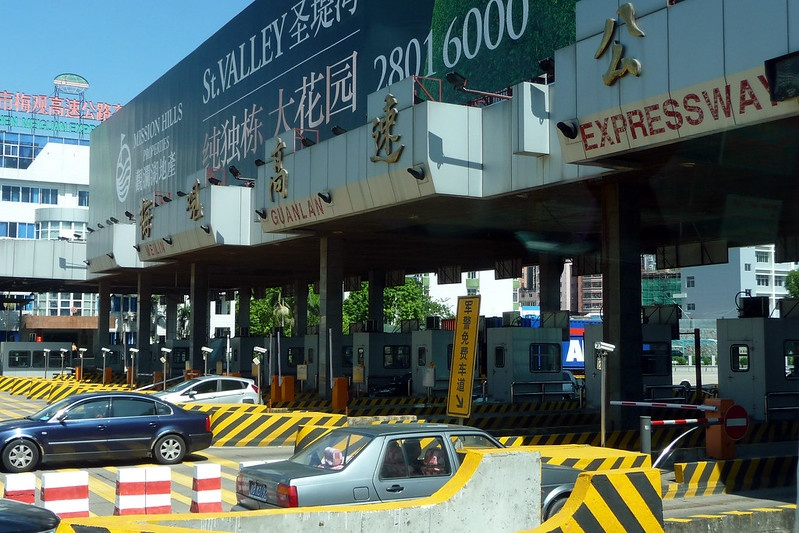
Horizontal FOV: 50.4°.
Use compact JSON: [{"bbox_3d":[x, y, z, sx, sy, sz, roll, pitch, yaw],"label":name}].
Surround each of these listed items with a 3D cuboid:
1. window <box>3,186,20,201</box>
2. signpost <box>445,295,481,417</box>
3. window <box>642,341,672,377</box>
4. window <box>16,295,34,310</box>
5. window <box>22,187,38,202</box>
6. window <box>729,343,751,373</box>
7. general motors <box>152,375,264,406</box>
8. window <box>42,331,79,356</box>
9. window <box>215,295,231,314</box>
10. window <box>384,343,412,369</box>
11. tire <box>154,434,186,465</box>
[{"bbox_3d":[-42.733,-8.113,93.448,1.772,1.480,1.860,13,1,7],"label":"window"},{"bbox_3d":[1.669,2.278,21.242,0.512,3.095,1.061,4,-8,-36],"label":"signpost"},{"bbox_3d":[10.388,3.855,35.065,1.493,1.435,0.916,2,-5,-23],"label":"window"},{"bbox_3d":[-36.141,3.451,81.817,1.523,0.779,0.843,3,-9,-25],"label":"window"},{"bbox_3d":[-40.997,-7.965,94.149,1.544,1.541,0.829,2,-8,-33],"label":"window"},{"bbox_3d":[11.673,3.173,29.067,0.797,1.203,0.796,2,-3,-39],"label":"window"},{"bbox_3d":[-7.007,4.696,31.643,3.359,1.204,1.532,8,-13,-30],"label":"general motors"},{"bbox_3d":[-29.181,6.662,72.843,2.311,2.248,1.226,3,-9,-33],"label":"window"},{"bbox_3d":[-18.763,4.055,90.280,1.467,2.899,2.851,0,-1,-27],"label":"window"},{"bbox_3d":[-0.160,4.566,42.351,1.851,1.377,1.004,5,-10,-34],"label":"window"},{"bbox_3d":[-6.224,4.966,22.961,0.646,0.673,0.231,-22,6,-27],"label":"tire"}]
